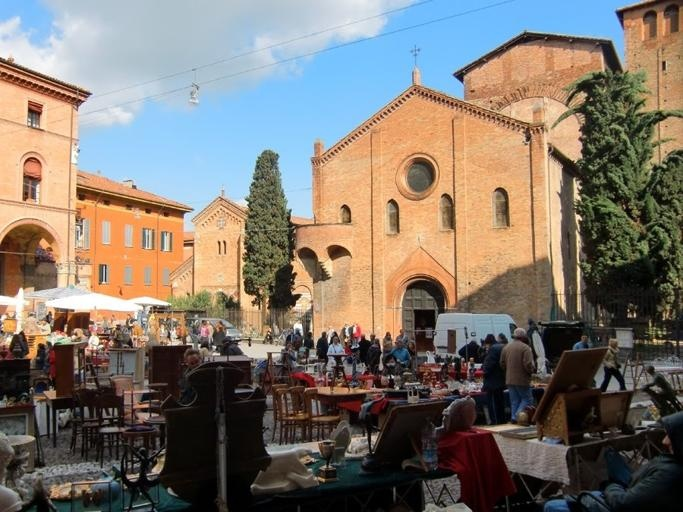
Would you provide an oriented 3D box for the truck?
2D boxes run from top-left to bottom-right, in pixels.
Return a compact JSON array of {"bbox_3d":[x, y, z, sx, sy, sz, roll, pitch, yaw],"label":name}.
[{"bbox_3d":[4.758,2.780,25.180,2.831,1.373,1.414,-2,-2,-1],"label":"truck"}]

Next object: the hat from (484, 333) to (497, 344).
[{"bbox_3d":[3.392,1.861,16.008,0.300,0.300,0.410,0,-10,1],"label":"hat"}]

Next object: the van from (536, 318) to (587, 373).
[{"bbox_3d":[7.367,2.958,23.433,1.760,2.382,1.805,-1,-3,12],"label":"van"}]
